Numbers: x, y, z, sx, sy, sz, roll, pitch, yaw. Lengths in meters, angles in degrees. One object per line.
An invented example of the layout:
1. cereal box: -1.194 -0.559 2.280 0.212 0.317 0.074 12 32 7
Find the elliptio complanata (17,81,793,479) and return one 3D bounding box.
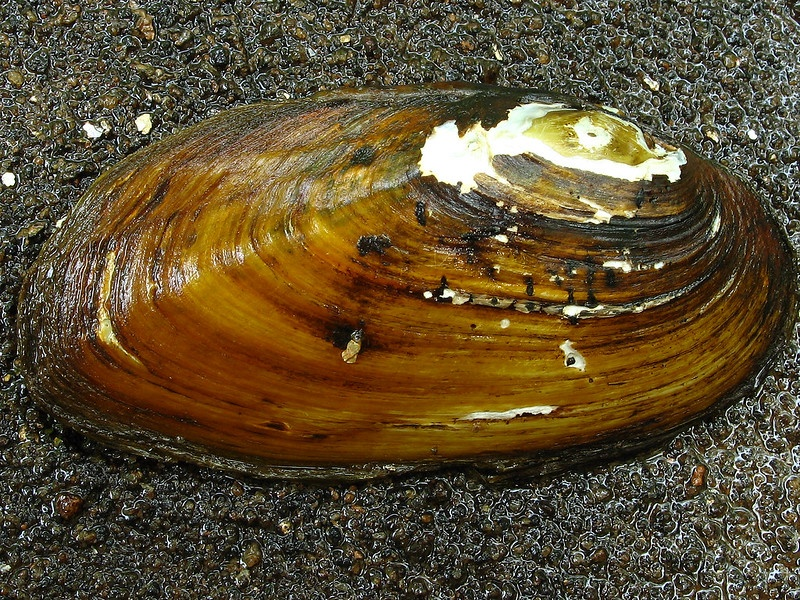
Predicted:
1. elliptio complanata: 0.005 -0.038 2.929 2.166 0.601 0.997 -1 65 -4
